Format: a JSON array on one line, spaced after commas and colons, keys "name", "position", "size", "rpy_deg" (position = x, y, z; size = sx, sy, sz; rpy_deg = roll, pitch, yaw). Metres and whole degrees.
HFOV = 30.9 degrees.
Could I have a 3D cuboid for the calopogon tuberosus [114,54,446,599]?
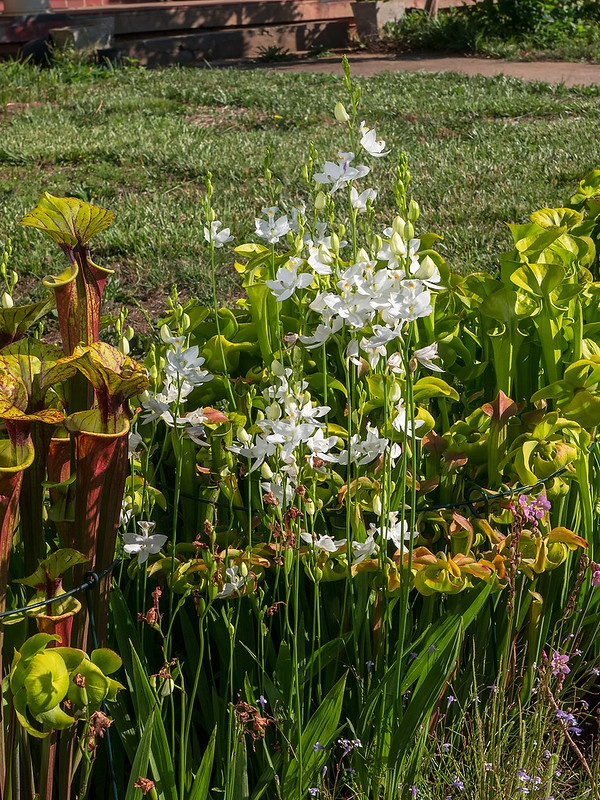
[{"name": "calopogon tuberosus", "position": [0.008, -0.095, 2.092], "size": [0.730, 1.058, 0.913], "rpy_deg": [-2, 17, -10]}]
